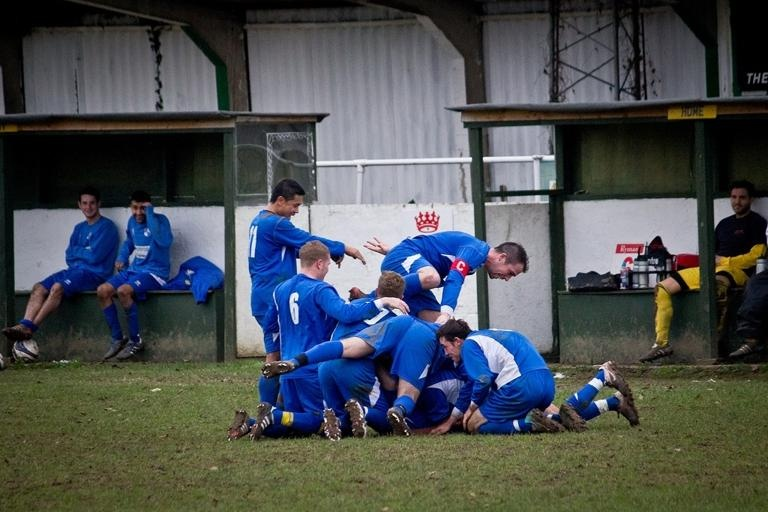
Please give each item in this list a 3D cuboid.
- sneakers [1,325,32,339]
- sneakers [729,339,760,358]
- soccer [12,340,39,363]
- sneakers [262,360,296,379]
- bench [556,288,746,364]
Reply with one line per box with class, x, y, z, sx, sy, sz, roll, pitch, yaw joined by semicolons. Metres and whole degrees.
sneakers;-5.076;1.047;15.716;0.384;0.167;0.177;10;11;-33
sneakers;4.542;1.163;14.365;0.413;0.262;0.197;-5;8;-26
soccer;-5.042;1.250;16.037;0.320;0.281;0.308;11;37;-2
sneakers;-1.101;1.176;11.901;0.283;0.122;0.182;-14;38;-11
bench;3.371;0.969;15.676;1.128;1.020;2.099;-1;-4;-38
